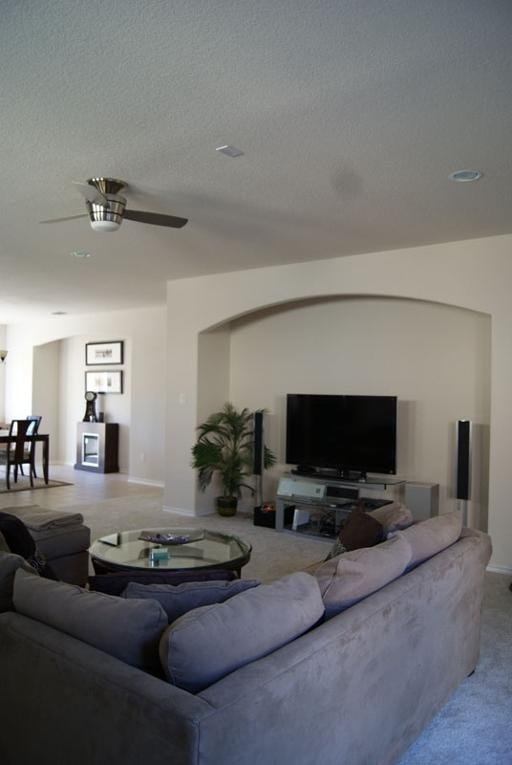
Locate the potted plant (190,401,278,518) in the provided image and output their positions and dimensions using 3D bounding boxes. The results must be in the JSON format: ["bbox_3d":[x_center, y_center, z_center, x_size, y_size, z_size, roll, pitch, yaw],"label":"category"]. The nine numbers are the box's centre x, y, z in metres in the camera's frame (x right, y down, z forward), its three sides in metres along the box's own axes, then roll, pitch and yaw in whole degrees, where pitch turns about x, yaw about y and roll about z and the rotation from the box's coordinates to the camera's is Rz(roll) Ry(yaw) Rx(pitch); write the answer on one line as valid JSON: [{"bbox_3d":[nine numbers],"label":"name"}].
[{"bbox_3d":[-0.272,0.912,6.203,0.890,1.122,0.834,-2,-14,15],"label":"potted plant"}]

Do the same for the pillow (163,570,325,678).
[{"bbox_3d":[-0.003,0.606,1.413,0.135,0.138,0.539,-4,-4,43],"label":"pillow"}]

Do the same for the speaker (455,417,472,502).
[{"bbox_3d":[1.687,0.634,4.578,0.104,0.644,0.106,-2,-11,39],"label":"speaker"}]

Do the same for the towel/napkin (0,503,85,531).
[{"bbox_3d":[-1.458,0.887,3.783,0.577,0.092,0.361,3,2,44],"label":"towel/napkin"}]

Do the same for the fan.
[{"bbox_3d":[-0.807,-0.991,3.158,0.477,0.133,0.497,-5,-11,18],"label":"fan"}]

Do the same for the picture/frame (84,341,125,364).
[{"bbox_3d":[-2.492,-0.479,9.356,1.060,0.430,0.093,-4,-4,43],"label":"picture/frame"}]

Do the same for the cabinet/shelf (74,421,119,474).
[{"bbox_3d":[-2.544,1.048,9.149,0.806,0.779,0.296,-2,-5,44],"label":"cabinet/shelf"}]

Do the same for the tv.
[{"bbox_3d":[0.789,0.515,5.423,1.120,0.777,0.307,0,-5,27],"label":"tv"}]

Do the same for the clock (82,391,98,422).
[{"bbox_3d":[-2.716,0.406,9.318,0.227,0.493,0.283,0,-3,-16],"label":"clock"}]

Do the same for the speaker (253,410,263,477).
[{"bbox_3d":[0.044,0.645,5.962,0.109,0.669,0.067,0,-2,41],"label":"speaker"}]
